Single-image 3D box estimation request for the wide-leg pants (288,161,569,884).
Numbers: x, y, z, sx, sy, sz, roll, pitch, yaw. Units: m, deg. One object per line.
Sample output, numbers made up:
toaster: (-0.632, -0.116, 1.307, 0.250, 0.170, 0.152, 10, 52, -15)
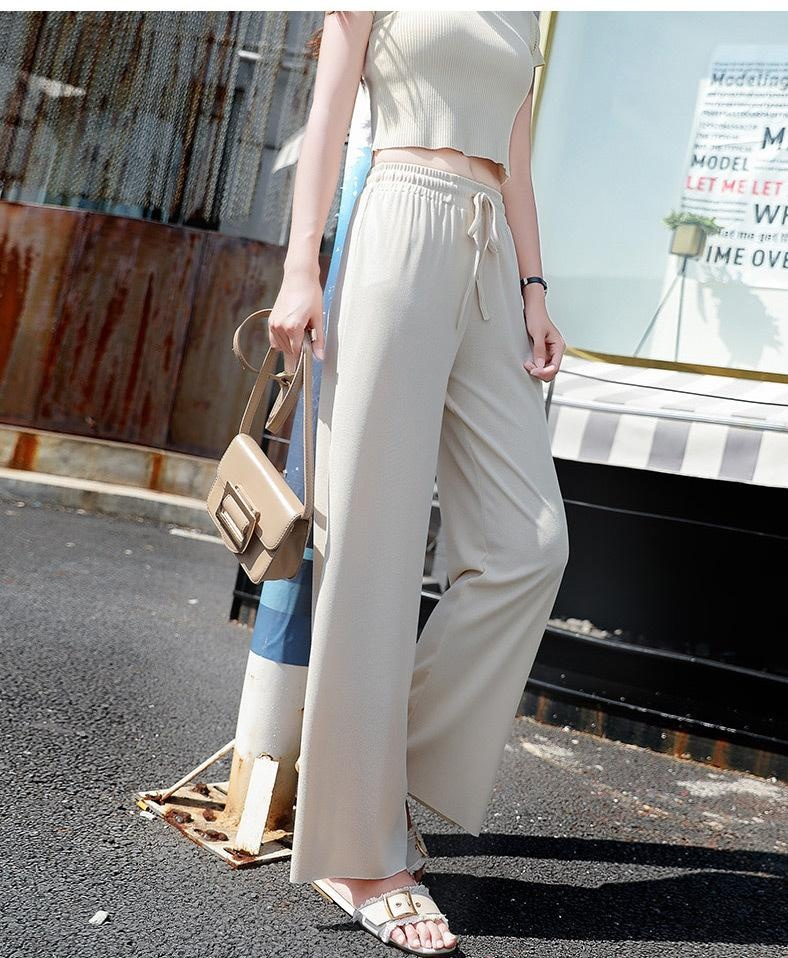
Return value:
wide-leg pants: (0.064, 0.084, 1.347, 0.350, 1.103, 0.238, 2, 4, -7)
